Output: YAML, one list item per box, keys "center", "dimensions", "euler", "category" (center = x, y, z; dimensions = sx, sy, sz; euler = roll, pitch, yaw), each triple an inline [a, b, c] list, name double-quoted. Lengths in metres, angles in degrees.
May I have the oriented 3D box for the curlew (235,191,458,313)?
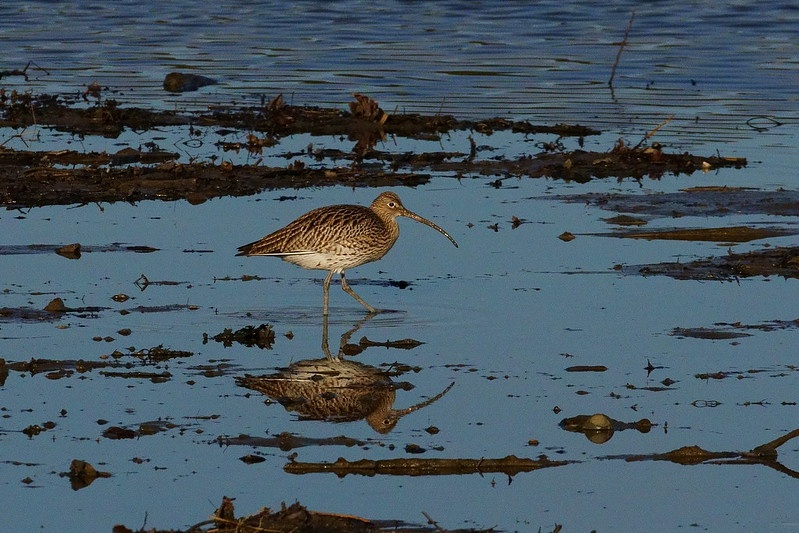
- center: [-1.080, -0.094, 24.656]
  dimensions: [3.375, 1.603, 0.988]
  euler: [0, 5, -18]
  category: "curlew"
